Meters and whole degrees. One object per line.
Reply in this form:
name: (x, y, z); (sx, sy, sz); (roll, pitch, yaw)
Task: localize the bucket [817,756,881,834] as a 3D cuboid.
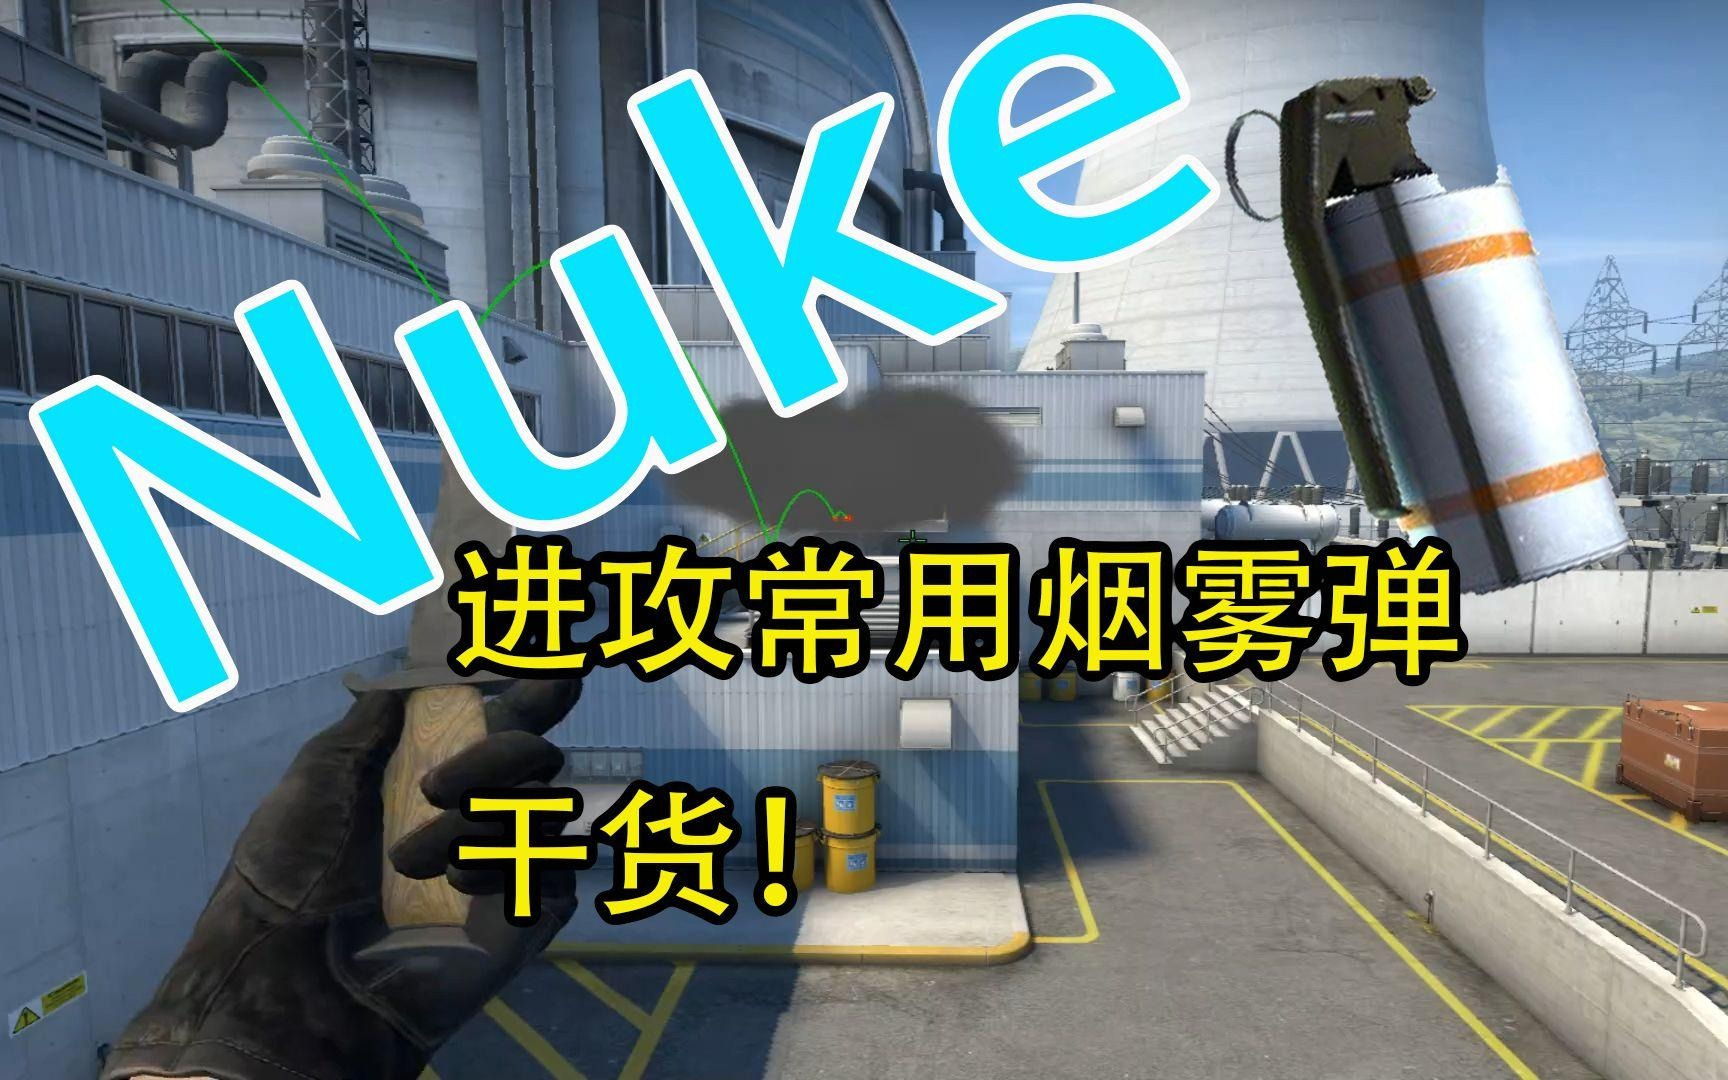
bucket: (-0.374, 6.089, 30.124); (1.591, 1.560, 1.572); (0, 3, 0)

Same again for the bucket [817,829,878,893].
bucket: (-0.428, 7.763, 30.115); (1.479, 1.438, 1.372); (-1, -1, 0)
